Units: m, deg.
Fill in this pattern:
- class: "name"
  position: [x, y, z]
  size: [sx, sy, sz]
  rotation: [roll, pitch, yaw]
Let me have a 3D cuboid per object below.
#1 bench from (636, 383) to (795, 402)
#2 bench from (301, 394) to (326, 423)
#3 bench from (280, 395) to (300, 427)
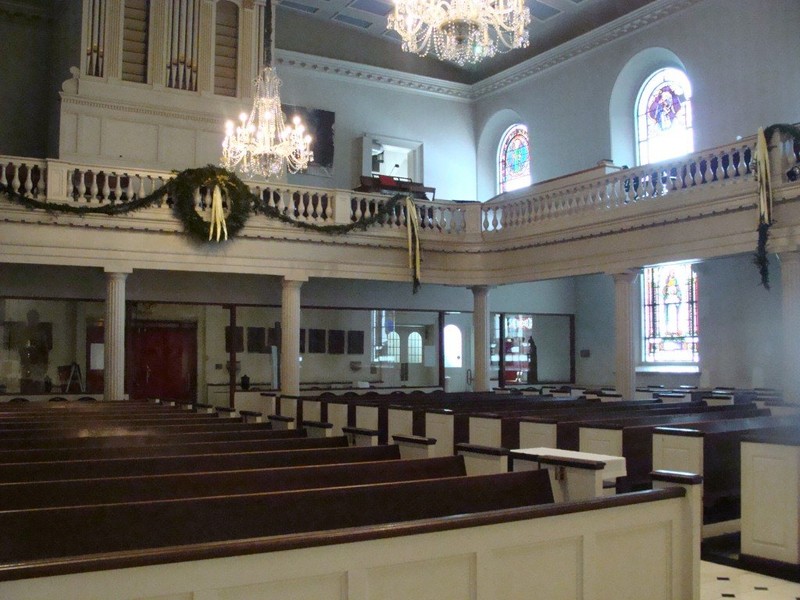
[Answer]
- class: "bench"
  position: [5.398, 1.680, 13.418]
  size: [2.469, 0.167, 4.040]
  rotation: [-3, -6, 27]
- class: "bench"
  position: [-1.371, 1.622, 11.407]
  size: [0.382, 0.407, 0.377]
  rotation: [4, -5, -43]
- class: "bench"
  position: [-1.692, 1.715, 11.617]
  size: [0.073, 0.538, 0.514]
  rotation: [0, 0, -30]
